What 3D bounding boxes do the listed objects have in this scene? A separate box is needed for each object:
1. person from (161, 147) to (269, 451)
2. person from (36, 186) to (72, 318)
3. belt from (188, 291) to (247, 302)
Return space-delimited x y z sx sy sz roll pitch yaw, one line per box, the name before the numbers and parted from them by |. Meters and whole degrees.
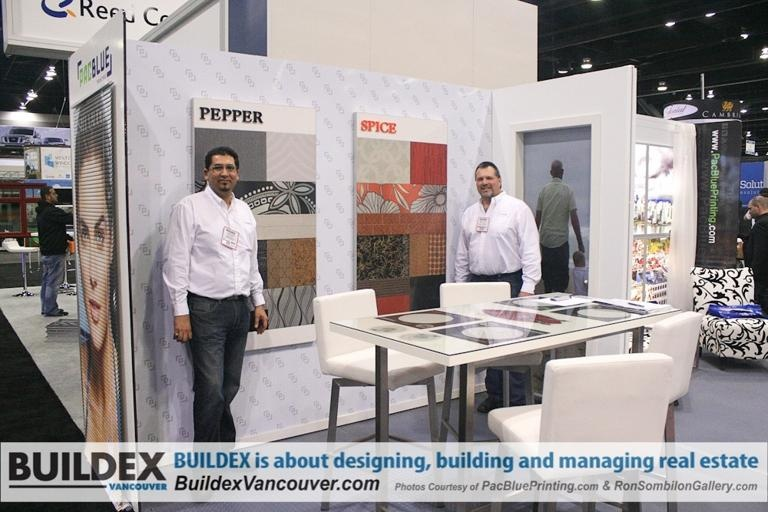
person | -1.121 0.291 3.753 0.663 2.039 0.222 -3 3 -37
person | -4.862 -0.057 8.208 0.426 1.946 0.725 -2 3 -32
belt | -1.112 0.282 3.708 0.375 0.070 0.083 -2 3 -18
